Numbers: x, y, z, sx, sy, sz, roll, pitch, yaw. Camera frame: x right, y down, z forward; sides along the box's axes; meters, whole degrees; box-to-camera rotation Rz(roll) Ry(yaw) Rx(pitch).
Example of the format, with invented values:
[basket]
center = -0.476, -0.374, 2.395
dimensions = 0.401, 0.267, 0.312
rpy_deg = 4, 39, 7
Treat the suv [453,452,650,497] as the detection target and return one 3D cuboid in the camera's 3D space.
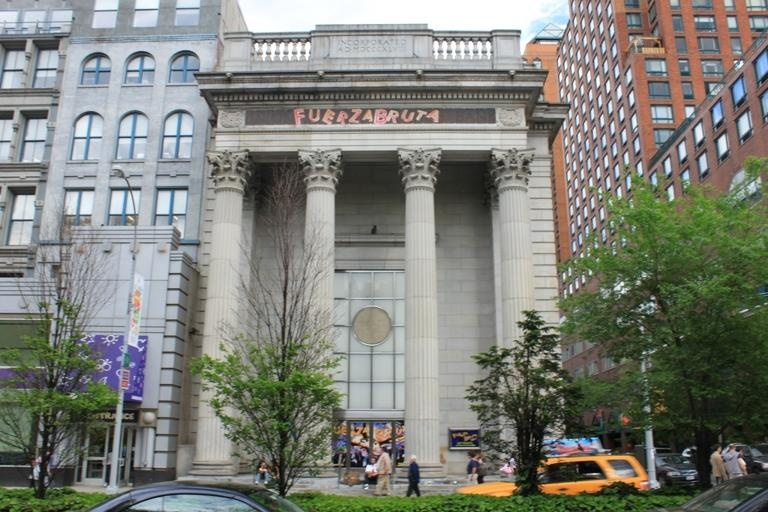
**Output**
[suv]
center = 7.597, 9.466, 39.810
dimensions = 7.086, 1.757, 2.620
rpy_deg = 2, -26, -2
